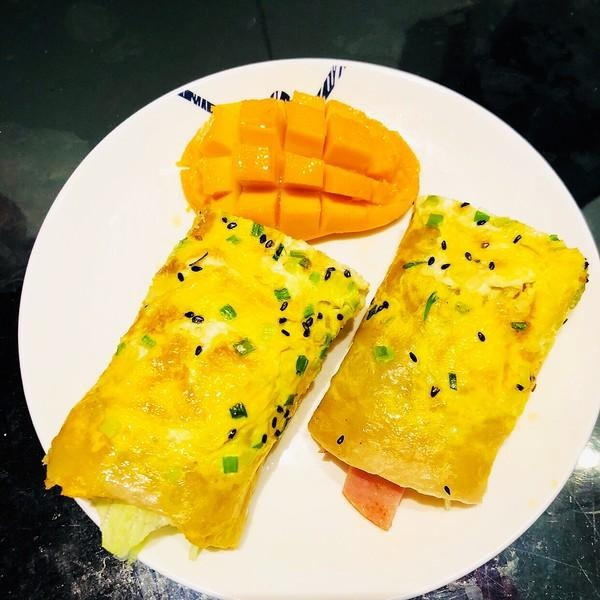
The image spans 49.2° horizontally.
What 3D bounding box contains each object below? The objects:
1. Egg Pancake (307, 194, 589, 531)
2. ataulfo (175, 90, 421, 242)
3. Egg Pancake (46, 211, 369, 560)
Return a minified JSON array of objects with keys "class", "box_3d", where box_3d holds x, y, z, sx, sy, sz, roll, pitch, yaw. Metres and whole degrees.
[{"class":"Egg Pancake","box_3d":[0.725,0.343,3.484,1.082,0.502,1.670,31,96,9]},{"class":"ataulfo","box_3d":[-0.055,-0.730,3.511,1.111,0.780,0.776,-22,44,-24]},{"class":"Egg Pancake","box_3d":[-0.427,0.340,3.046,0.960,0.471,1.515,28,86,4]}]
